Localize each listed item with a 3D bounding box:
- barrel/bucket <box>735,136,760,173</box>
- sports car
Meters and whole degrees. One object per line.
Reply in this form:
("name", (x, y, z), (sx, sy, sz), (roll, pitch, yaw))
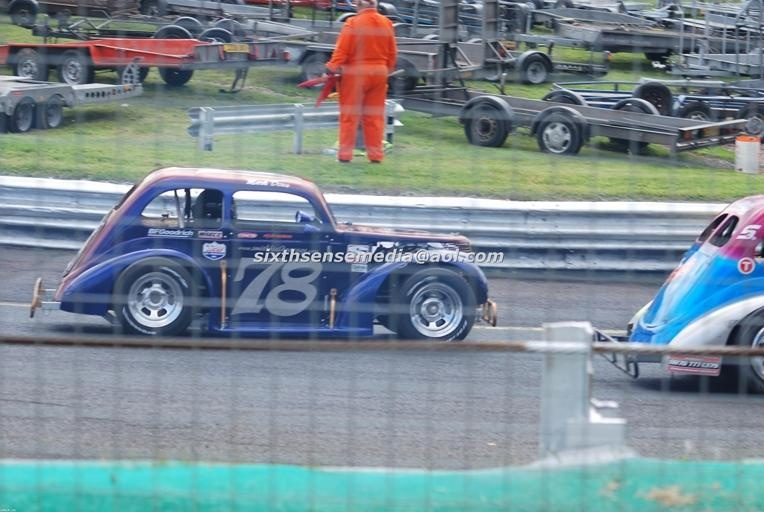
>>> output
("barrel/bucket", (3.631, -1.009, 17.141), (0.260, 0.365, 0.563), (4, 10, 10))
("sports car", (-1.351, -0.074, 13.528), (4.875, 1.183, 1.733), (3, 7, -45))
